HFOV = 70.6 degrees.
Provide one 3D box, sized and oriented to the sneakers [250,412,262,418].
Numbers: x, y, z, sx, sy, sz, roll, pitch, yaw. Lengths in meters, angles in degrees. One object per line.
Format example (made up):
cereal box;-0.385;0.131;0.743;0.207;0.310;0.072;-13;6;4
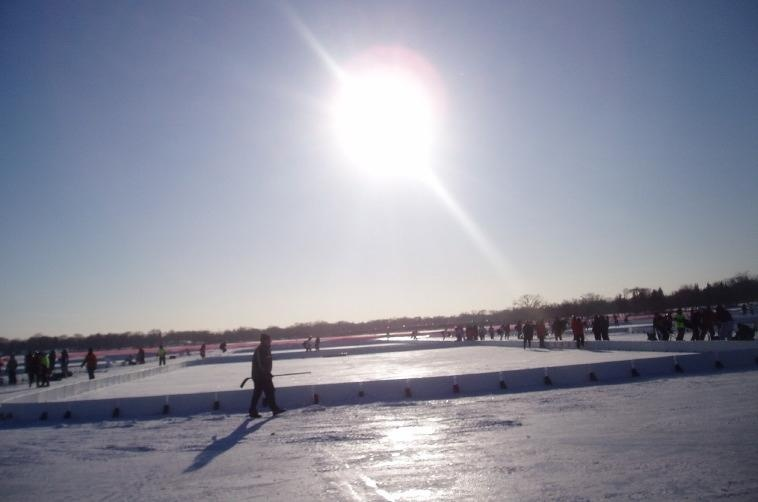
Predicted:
sneakers;-3.706;4.948;16.129;0.353;0.185;0.266;1;-12;-30

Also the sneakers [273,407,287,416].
sneakers;-3.076;4.948;16.467;0.441;0.232;0.151;-4;1;-27
